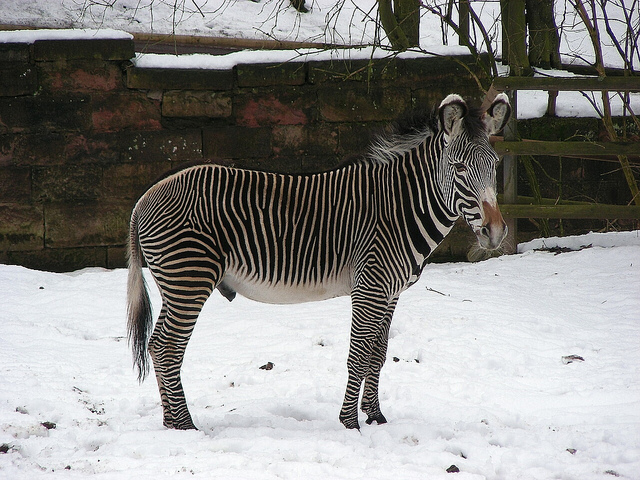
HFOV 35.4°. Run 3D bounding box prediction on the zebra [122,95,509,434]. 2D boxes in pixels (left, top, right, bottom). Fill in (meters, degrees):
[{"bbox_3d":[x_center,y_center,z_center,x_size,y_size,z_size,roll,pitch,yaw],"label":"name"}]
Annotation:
[{"bbox_3d":[-0.091,0.401,11.480,3.726,3.231,1.065,1,-2,2],"label":"zebra"}]
